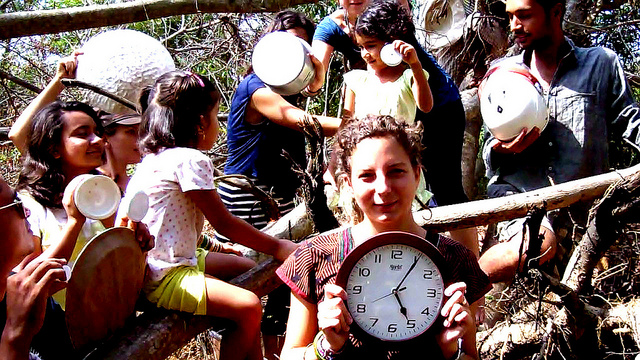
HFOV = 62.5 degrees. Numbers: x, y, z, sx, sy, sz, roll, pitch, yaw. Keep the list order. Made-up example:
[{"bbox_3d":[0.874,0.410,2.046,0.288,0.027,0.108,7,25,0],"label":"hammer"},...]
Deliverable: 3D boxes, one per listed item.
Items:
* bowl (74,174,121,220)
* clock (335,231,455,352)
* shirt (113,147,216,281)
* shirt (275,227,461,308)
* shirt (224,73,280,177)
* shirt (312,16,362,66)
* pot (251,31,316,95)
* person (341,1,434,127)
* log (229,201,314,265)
[{"bbox_3d":[-1.802,0.154,4.392,0.322,0.253,0.328,-18,44,18],"label":"bowl"},{"bbox_3d":[0.517,0.813,3.702,0.776,0.838,0.104,0,-9,0],"label":"clock"},{"bbox_3d":[-1.262,0.218,4.553,0.593,1.431,0.763,3,1,-43],"label":"shirt"},{"bbox_3d":[0.019,0.603,4.056,0.809,0.728,0.321,-1,2,8],"label":"shirt"},{"bbox_3d":[-0.672,-0.537,5.390,0.615,1.192,1.160,2,3,-24],"label":"shirt"},{"bbox_3d":[0.211,-1.546,5.834,0.344,0.634,0.515,1,-1,31],"label":"shirt"},{"bbox_3d":[-0.358,-1.129,5.093,0.593,0.566,0.274,-9,21,4],"label":"pot"},{"bbox_3d":[0.597,-1.145,5.224,0.864,1.125,0.504,-9,20,3],"label":"person"},{"bbox_3d":[-0.462,0.473,5.383,0.401,0.737,0.614,0,1,30],"label":"log"}]
